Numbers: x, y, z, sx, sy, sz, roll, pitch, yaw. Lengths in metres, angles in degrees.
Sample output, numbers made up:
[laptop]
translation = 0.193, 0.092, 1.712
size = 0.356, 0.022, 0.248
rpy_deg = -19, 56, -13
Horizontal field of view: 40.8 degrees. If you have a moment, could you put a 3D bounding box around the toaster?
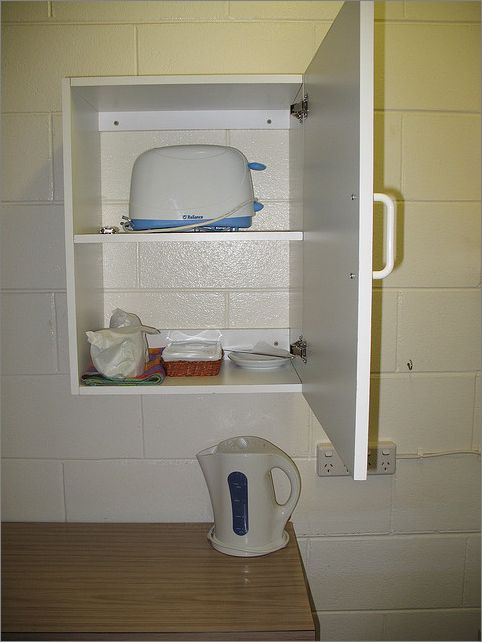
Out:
[toaster]
translation = -0.109, -0.282, 1.359
size = 0.333, 0.174, 0.238
rpy_deg = -1, 16, -9

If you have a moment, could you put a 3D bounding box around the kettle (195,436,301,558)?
[kettle]
translation = 0.014, 0.378, 1.534
size = 0.330, 0.266, 0.244
rpy_deg = 0, 2, 1
